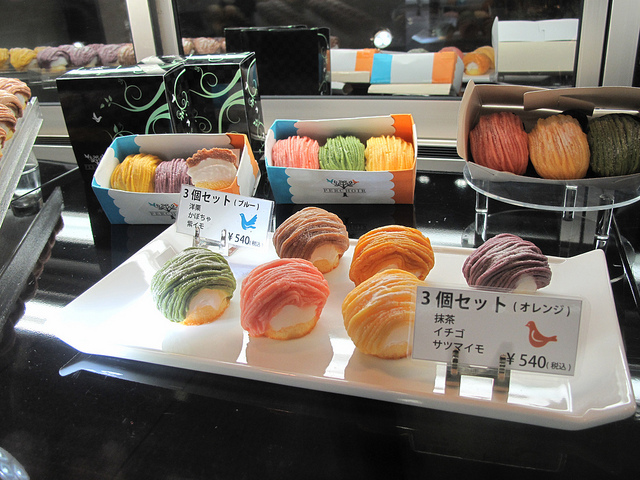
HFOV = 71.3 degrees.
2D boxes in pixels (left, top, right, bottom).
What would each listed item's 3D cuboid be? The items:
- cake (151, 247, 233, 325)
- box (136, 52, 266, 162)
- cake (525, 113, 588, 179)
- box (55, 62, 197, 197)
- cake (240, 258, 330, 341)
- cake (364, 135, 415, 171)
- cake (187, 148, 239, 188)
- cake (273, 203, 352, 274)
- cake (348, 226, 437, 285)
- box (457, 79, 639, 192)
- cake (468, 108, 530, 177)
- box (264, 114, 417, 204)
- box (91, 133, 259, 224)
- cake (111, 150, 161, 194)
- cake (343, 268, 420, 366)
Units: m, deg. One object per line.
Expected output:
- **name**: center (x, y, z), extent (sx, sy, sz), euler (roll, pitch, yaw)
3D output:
- **cake**: center (-0.249, 0.106, 0.901), extent (0.132, 0.122, 0.169), euler (-10, 8, 13)
- **box**: center (-0.377, -0.422, 1.456), extent (0.352, 0.335, 0.131), euler (-3, 30, 10)
- **cake**: center (0.544, -0.209, 1.070), extent (0.111, 0.150, 0.123), euler (-8, 5, 9)
- **box**: center (-0.593, -0.386, 1.389), extent (0.332, 0.323, 0.200), euler (-8, 42, -21)
- **cake**: center (-0.078, 0.115, 0.864), extent (0.192, 0.139, 0.156), euler (-13, 11, -41)
- **cake**: center (0.192, -0.241, 1.240), extent (0.136, 0.058, 0.218), euler (2, 31, 12)
- **cake**: center (-0.297, -0.179, 1.214), extent (0.156, 0.060, 0.177), euler (-5, -17, -25)
- **cake**: center (-0.014, -0.003, 0.996), extent (0.142, 0.108, 0.136), euler (-6, 34, -6)
- **cake**: center (0.145, 0.040, 0.971), extent (0.195, 0.128, 0.197), euler (3, 0, -4)
- **box**: center (0.528, -0.261, 1.032), extent (0.411, 0.211, 0.274), euler (3, 30, 13)
- **cake**: center (0.415, -0.215, 1.028), extent (0.115, 0.063, 0.169), euler (-4, 69, 6)
- **box**: center (0.053, -0.190, 1.273), extent (0.409, 0.173, 0.257), euler (-1, 53, 6)
- **box**: center (-0.382, -0.138, 1.246), extent (0.372, 0.142, 0.257), euler (-2, 48, 4)
- **cake**: center (-0.502, -0.185, 1.230), extent (0.119, 0.069, 0.111), euler (1, 64, 10)
- **cake**: center (0.105, 0.130, 0.784), extent (0.126, 0.109, 0.121), euler (3, 30, 13)
